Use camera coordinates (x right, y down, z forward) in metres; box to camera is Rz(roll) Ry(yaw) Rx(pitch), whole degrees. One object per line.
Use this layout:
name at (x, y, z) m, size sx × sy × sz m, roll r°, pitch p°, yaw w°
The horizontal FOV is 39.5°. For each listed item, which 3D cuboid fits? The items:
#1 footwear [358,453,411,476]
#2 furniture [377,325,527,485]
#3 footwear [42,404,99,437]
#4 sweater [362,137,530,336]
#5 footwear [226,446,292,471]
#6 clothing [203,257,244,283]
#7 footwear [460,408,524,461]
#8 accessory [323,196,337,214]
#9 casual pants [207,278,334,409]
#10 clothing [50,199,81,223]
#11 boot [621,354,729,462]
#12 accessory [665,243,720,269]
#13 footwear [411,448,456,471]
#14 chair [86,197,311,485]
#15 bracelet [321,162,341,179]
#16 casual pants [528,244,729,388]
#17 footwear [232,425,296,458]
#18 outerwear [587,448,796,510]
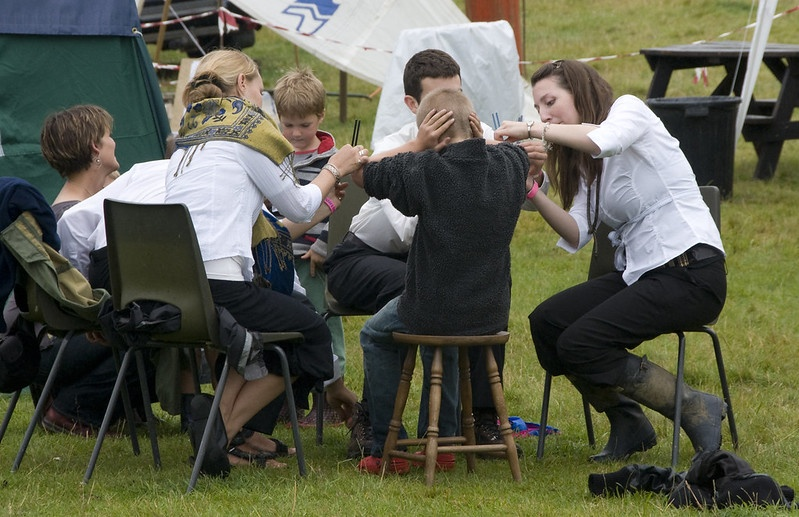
footwear at (-0.106, 1.301, 7.140) m, size 0.306 × 0.137 × 0.132 m, roll 3°, pitch 0°, yaw 8°
furniture at (0.311, 0.936, 7.107) m, size 0.840 × 0.929 × 0.902 m, roll -1°, pitch -2°, yaw 34°
footwear at (-2.349, 1.145, 7.842) m, size 0.449 × 0.309 × 0.165 m, roll 5°, pitch -5°, yaw -9°
sweater at (0.260, -0.216, 7.264) m, size 1.480 × 1.464 × 1.029 m, roll -2°, pitch 10°, yaw -9°
footwear at (-0.932, 1.291, 7.274) m, size 0.376 × 0.096 × 0.147 m, roll 2°, pitch 0°, yaw 5°
clothing at (-1.096, 0.076, 6.950) m, size 0.272 × 0.146 × 0.209 m, roll 1°, pitch -9°, yaw -10°
footwear at (0.592, 1.159, 7.572) m, size 0.173 × 0.340 × 0.485 m, roll -1°, pitch -5°, yaw -39°
accessory at (-0.471, -0.332, 7.521) m, size 0.089 × 0.116 × 0.044 m, roll 3°, pitch -27°, yaw 14°
casual pants at (-0.852, 0.502, 7.257) m, size 0.656 × 0.808 × 0.702 m, roll -7°, pitch 8°, yaw -18°
clothing at (-2.348, -0.315, 7.760) m, size 0.171 × 0.088 × 0.133 m, roll -17°, pitch -14°, yaw 41°
boot at (1.772, 0.918, 7.170) m, size 0.948 × 0.364 × 0.713 m, roll 6°, pitch -33°, yaw 28°
accessory at (1.877, -0.003, 7.123) m, size 0.263 × 0.068 × 0.158 m, roll -22°, pitch -1°, yaw -2°
footwear at (0.202, 1.278, 7.170) m, size 0.321 × 0.144 × 0.116 m, roll 4°, pitch -1°, yaw 3°
chair at (-1.245, 0.603, 6.624) m, size 1.173 × 1.682 × 0.978 m, roll 11°, pitch 5°, yaw 37°
bracelet at (-0.439, -0.552, 7.283) m, size 0.106 × 0.101 × 0.100 m, roll 46°, pitch -16°, yaw -25°
casual pants at (1.459, 0.297, 7.365) m, size 1.296 × 0.714 × 0.753 m, roll -16°, pitch 6°, yaw -3°
footwear at (-0.934, 1.223, 7.347) m, size 0.446 × 0.177 × 0.149 m, roll 9°, pitch 16°, yaw 5°
outerwear at (1.709, 1.333, 6.631) m, size 0.737 × 0.234 × 0.491 m, roll -1°, pitch -5°, yaw -7°
